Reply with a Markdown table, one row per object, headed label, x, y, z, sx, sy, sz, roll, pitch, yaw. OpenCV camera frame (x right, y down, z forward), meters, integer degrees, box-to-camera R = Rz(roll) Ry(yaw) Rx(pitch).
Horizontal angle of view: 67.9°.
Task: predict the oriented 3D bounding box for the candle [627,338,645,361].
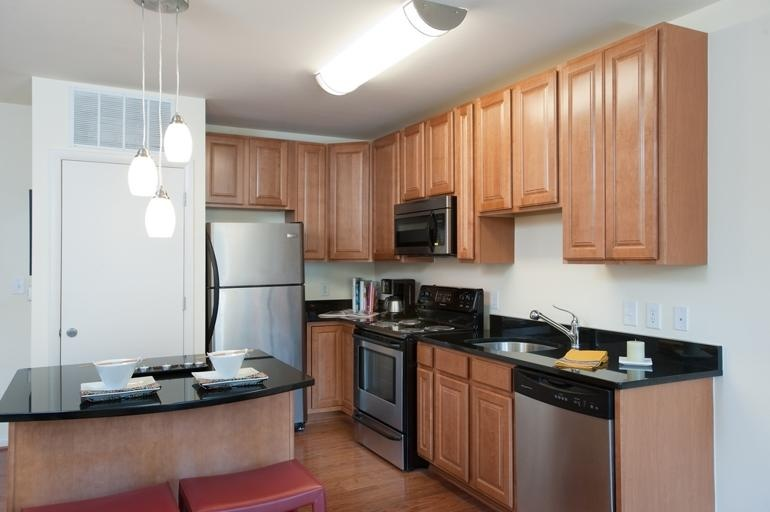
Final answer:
| label | x | y | z | sx | sy | sz | roll | pitch | yaw |
| --- | --- | --- | --- | --- | --- | --- | --- | --- | --- |
| candle | 1.483 | 0.558 | 3.441 | 0.114 | 0.114 | 0.108 | 0 | 6 | -2 |

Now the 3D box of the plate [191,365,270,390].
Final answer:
| label | x | y | z | sx | sy | sz | roll | pitch | yaw |
| --- | --- | --- | --- | --- | --- | --- | --- | --- | --- |
| plate | -0.865 | 0.669 | 3.190 | 0.404 | 0.102 | 0.272 | -3 | -1 | -15 |

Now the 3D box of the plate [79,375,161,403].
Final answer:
| label | x | y | z | sx | sy | sz | roll | pitch | yaw |
| --- | --- | --- | --- | --- | --- | --- | --- | --- | --- |
| plate | -1.406 | 0.693 | 3.033 | 0.376 | 0.112 | 0.258 | -3 | -1 | -23 |

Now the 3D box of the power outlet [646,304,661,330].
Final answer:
| label | x | y | z | sx | sy | sz | roll | pitch | yaw |
| --- | --- | --- | --- | --- | --- | --- | --- | --- | --- |
| power outlet | 1.699 | 0.376 | 3.615 | 0.014 | 0.164 | 0.091 | -4 | 0 | -42 |

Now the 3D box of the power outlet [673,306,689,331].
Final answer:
| label | x | y | z | sx | sy | sz | roll | pitch | yaw |
| --- | --- | --- | --- | --- | --- | --- | --- | --- | --- |
| power outlet | 1.811 | 0.377 | 3.505 | 0.011 | 0.155 | 0.081 | -4 | 0 | -44 |

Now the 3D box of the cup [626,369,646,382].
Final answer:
| label | x | y | z | sx | sy | sz | roll | pitch | yaw |
| --- | --- | --- | --- | --- | --- | --- | --- | --- | --- |
| cup | 1.403 | 0.658 | 3.208 | 0.071 | 0.073 | 0.069 | 1 | 2 | 0 |

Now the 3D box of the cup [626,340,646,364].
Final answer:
| label | x | y | z | sx | sy | sz | roll | pitch | yaw |
| --- | --- | --- | --- | --- | --- | --- | --- | --- | --- |
| cup | 1.482 | 0.561 | 3.379 | 0.118 | 0.122 | 0.119 | 0 | 5 | 0 |

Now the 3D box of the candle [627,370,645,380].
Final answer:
| label | x | y | z | sx | sy | sz | roll | pitch | yaw |
| --- | --- | --- | --- | --- | --- | --- | --- | --- | --- |
| candle | 1.399 | 0.659 | 3.200 | 0.055 | 0.036 | 0.054 | 3 | -3 | -41 |

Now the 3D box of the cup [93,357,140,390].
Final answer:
| label | x | y | z | sx | sy | sz | roll | pitch | yaw |
| --- | --- | --- | --- | --- | --- | --- | --- | --- | --- |
| cup | -1.413 | 0.603 | 3.034 | 0.196 | 0.102 | 0.155 | 1 | -7 | -16 |

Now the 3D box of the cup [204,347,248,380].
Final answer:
| label | x | y | z | sx | sy | sz | roll | pitch | yaw |
| --- | --- | --- | --- | --- | --- | --- | --- | --- | --- |
| cup | -0.895 | 0.589 | 3.201 | 0.193 | 0.112 | 0.156 | 1 | -7 | -33 |

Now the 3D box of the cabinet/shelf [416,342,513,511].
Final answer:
| label | x | y | z | sx | sy | sz | roll | pitch | yaw |
| --- | --- | --- | --- | --- | --- | --- | --- | --- | --- |
| cabinet/shelf | 0.577 | 1.188 | 3.987 | 0.593 | 1.013 | 1.122 | 3 | -4 | -22 |

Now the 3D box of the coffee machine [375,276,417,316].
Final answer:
| label | x | y | z | sx | sy | sz | roll | pitch | yaw |
| --- | --- | --- | --- | --- | --- | --- | --- | --- | --- |
| coffee machine | 0.085 | 0.381 | 5.736 | 0.341 | 0.420 | 0.467 | 3 | -6 | -16 |
